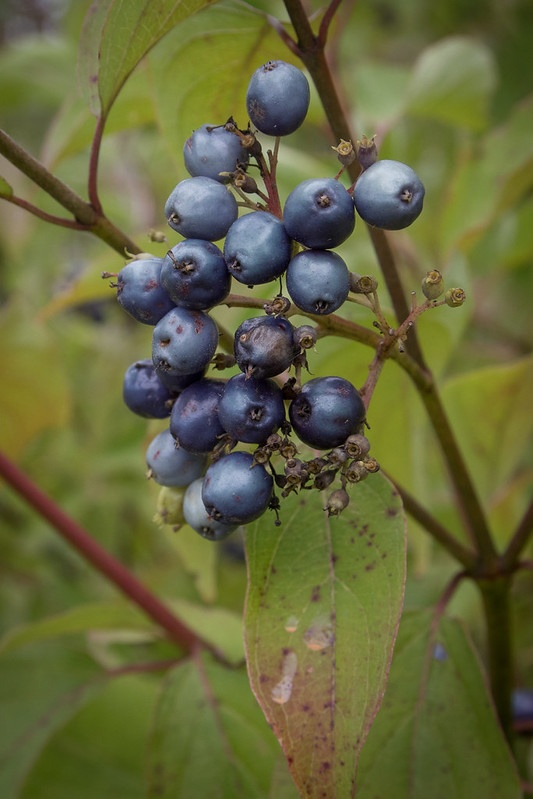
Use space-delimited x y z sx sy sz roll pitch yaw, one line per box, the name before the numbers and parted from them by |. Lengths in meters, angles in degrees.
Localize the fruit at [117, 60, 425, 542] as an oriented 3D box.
fruit | -0.010 -0.078 0.624 0.282 0.295 0.126 -14 -5 13
